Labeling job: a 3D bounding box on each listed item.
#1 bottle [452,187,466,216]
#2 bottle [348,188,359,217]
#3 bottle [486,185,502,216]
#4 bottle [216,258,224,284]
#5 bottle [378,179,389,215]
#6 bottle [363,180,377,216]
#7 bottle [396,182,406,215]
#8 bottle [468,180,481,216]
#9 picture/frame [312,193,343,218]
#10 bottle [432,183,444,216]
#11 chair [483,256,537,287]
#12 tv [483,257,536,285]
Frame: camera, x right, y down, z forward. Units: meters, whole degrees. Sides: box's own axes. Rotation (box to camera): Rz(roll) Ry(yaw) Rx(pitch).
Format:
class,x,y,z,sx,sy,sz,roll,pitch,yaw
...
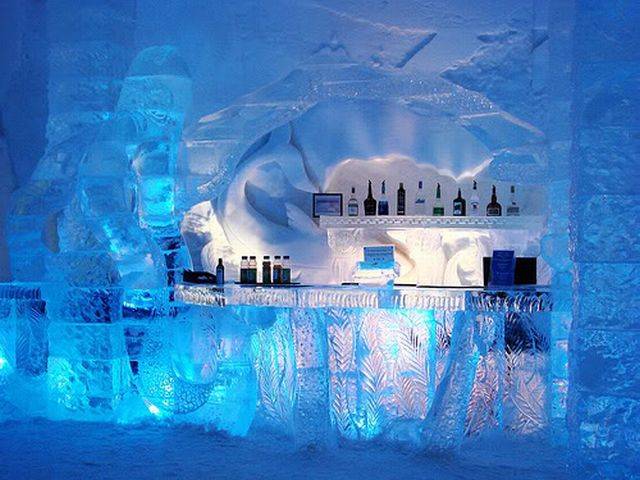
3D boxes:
class,x,y,z,sx,sy,sz,roll,pitch,yaw
bottle,1.112,-0.302,6.688,0.100,0.233,0.157,0,-6,8
bottle,0.266,-0.311,6.822,0.094,0.247,0.171,1,-6,2
bottle,1.373,-0.310,6.612,0.122,0.278,0.187,0,-6,12
bottle,-0.763,0.236,6.329,0.058,0.207,0.221,2,-6,-8
bottle,0.510,-0.343,6.754,0.088,0.319,0.199,1,-6,3
bottle,0.401,-0.347,6.823,0.098,0.283,0.094,1,-6,0
bottle,0.659,-0.335,6.804,0.066,0.262,0.095,0,-6,8
bottle,1.238,-0.345,6.715,0.080,0.279,0.081,1,-6,0
picture/frame,0.054,-0.293,6.865,0.231,0.182,0.067,0,-6,8
bottle,0.948,-0.328,6.716,0.086,0.286,0.171,0,-6,7
chair,1.398,0.234,6.180,0.396,0.213,0.232,0,-6,14
tv,1.411,0.225,6.132,0.353,0.282,0.199,0,3,10
